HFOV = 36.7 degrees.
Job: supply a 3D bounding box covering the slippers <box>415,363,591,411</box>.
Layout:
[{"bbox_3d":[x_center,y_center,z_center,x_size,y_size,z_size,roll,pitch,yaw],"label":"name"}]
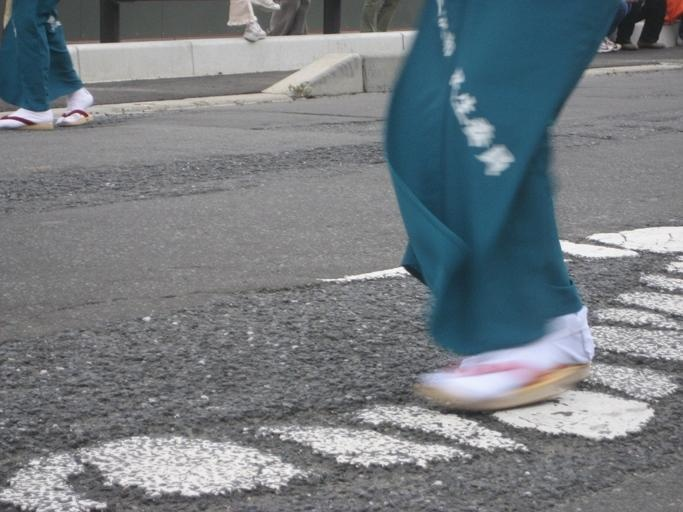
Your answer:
[{"bbox_3d":[0.516,0.384,3.173,0.546,0.113,0.171,-3,9,-7],"label":"slippers"}]
